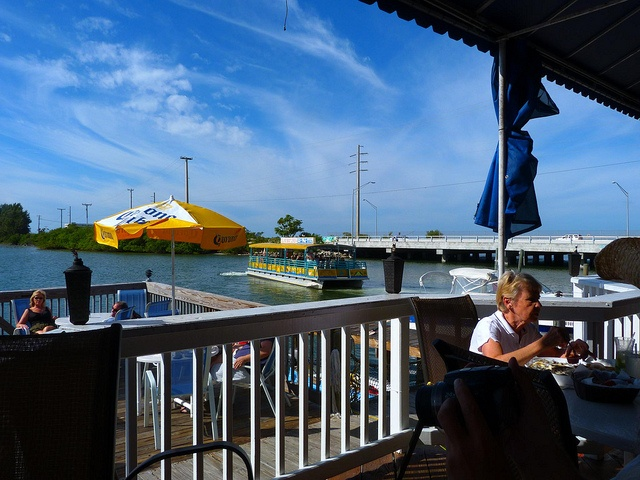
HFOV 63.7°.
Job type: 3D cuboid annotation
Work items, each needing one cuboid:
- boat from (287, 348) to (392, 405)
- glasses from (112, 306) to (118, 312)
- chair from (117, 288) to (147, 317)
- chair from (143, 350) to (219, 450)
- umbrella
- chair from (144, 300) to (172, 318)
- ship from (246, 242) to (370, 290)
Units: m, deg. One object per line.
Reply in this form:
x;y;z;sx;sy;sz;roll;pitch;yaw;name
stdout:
0.216;1.380;5.375;0.723;0.247;1.019;1;-2;-27;boat
-2.864;0.970;7.185;0.068;0.090;0.088;12;-6;-33;glasses
-3.081;1.034;8.376;0.416;0.756;0.401;-1;3;-25;chair
-1.284;1.354;4.640;0.675;0.790;1.307;-1;-3;-20;chair
-2.199;0.239;7.756;1.764;1.748;2.008;-4;-4;32;umbrella
-2.359;1.019;7.494;0.336;0.202;0.812;-1;-4;-17;chair
-1.178;1.706;35.436;3.461;2.474;9.064;2;1;-29;ship
